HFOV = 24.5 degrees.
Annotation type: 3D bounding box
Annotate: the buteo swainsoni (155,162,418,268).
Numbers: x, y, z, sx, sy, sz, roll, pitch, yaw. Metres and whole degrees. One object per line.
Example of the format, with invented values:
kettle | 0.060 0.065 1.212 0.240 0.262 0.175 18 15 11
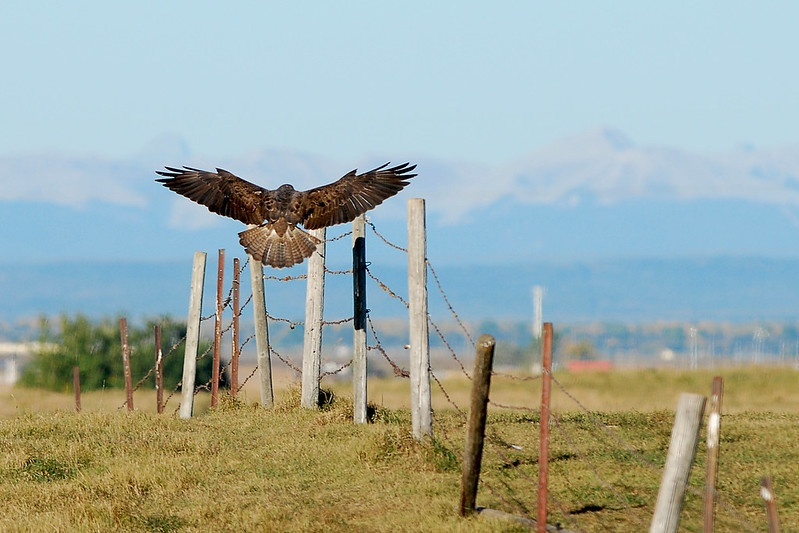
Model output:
buteo swainsoni | -2.498 -2.090 39.529 5.643 2.151 2.333 5 37 2
